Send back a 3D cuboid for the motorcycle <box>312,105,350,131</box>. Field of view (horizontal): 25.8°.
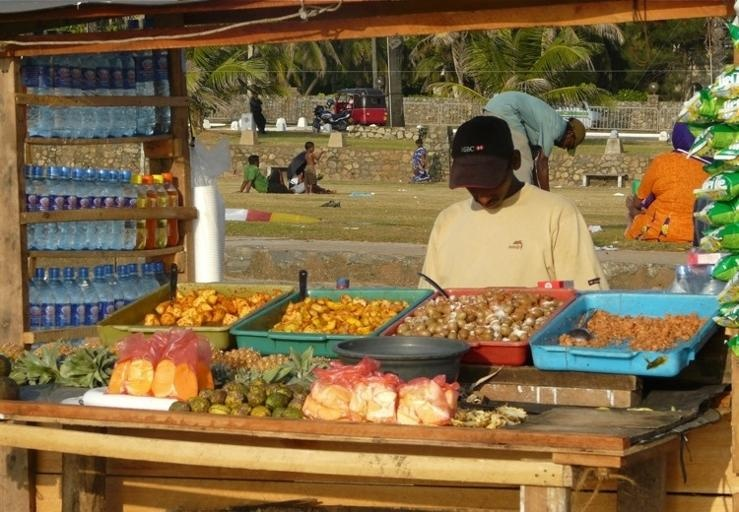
[{"bbox_3d":[-1.264,-4.049,48.020,1.316,0.768,0.578,14,28,42],"label":"motorcycle"}]

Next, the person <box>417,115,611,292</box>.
[{"bbox_3d":[1.084,-0.404,12.652,1.428,1.358,0.660,0,8,10],"label":"person"}]

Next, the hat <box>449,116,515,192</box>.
[{"bbox_3d":[0.892,-0.797,12.583,0.409,0.322,0.621,2,24,17],"label":"hat"}]
